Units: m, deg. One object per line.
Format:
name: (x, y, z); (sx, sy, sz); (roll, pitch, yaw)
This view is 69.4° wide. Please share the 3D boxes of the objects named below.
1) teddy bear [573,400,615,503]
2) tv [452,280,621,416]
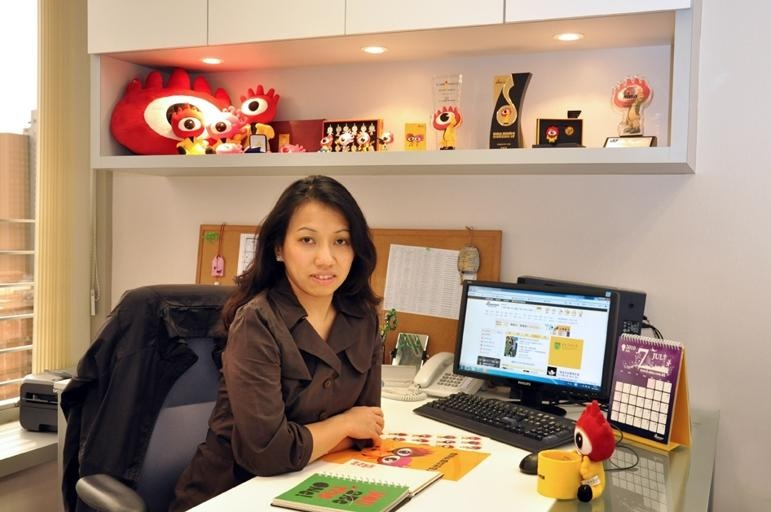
teddy bear: (0.576, 0.553, 1.569); (0.104, 0.239, 0.148); (14, 16, 40)
tv: (0.573, 0.344, 2.063); (0.479, 0.333, 0.127); (5, 6, 30)
